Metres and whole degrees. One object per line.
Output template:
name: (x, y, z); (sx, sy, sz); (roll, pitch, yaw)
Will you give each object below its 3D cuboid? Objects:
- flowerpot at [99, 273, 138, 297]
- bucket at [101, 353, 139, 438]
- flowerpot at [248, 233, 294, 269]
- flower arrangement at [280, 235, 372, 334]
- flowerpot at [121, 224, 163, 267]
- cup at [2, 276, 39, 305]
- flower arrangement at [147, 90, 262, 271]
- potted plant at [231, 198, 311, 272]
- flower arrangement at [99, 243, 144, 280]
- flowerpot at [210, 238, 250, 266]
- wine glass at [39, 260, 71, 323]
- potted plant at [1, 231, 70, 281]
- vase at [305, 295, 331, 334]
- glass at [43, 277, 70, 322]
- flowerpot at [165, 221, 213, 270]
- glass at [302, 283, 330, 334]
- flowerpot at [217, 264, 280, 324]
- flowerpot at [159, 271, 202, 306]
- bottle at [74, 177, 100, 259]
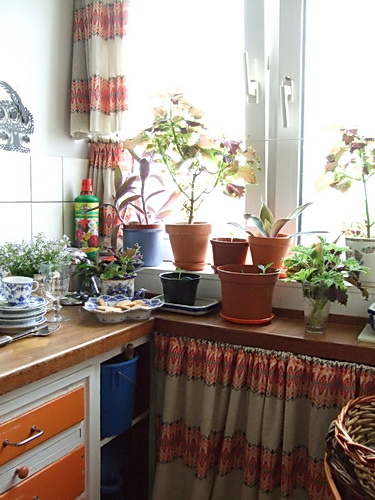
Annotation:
flowerpot: (-0.254, 0.128, 1.400); (0.129, 0.089, 0.145); (0, 5, -12)
bucket: (-0.197, 0.444, 1.185); (0.056, 0.234, 0.148); (4, 6, 29)
flowerpot: (0.283, -0.002, 1.329); (0.123, 0.088, 0.121); (2, 4, 9)
flower arrangement: (0.404, 0.097, 1.217); (0.278, 0.263, 0.280); (2, 0, 36)
flowerpot: (-0.208, -0.026, 1.668); (0.201, 0.193, 0.204); (2, -1, -22)
cup: (-0.475, 0.114, 1.106); (0.101, 0.072, 0.099); (1, 5, 0)
flower arrangement: (0.063, -0.251, 1.497); (0.444, 0.676, 0.310); (2, 6, 10)
potted plant: (0.288, -0.053, 1.421); (0.259, 0.187, 0.261); (3, 1, 41)
flower arrangement: (-0.228, 0.036, 1.372); (0.152, 0.087, 0.121); (-8, 34, -19)
flowerpot: (0.172, 0.002, 1.422); (0.112, 0.080, 0.111); (1, 2, 4)
wine glass: (-0.395, 0.123, 1.161); (0.098, 0.169, 0.095); (-1, -2, -12)
potted plant: (-0.502, 0.009, 1.273); (0.182, 0.119, 0.183); (4, 7, 23)
vase: (0.376, 0.186, 1.115); (0.067, 0.106, 0.045); (3, 6, 16)
glass: (-0.414, 0.143, 1.226); (0.073, 0.149, 0.214); (-1, 6, -21)
flowerpot: (0.012, -0.015, 1.559); (0.197, 0.177, 0.192); (-3, 5, -17)
glass: (0.378, 0.165, 1.132); (0.073, 0.152, 0.126); (3, 6, 20)
flowerpot: (0.198, 0.141, 1.278); (0.230, 0.176, 0.216); (5, -12, 4)
flowerpot: (-0.017, 0.135, 1.382); (0.144, 0.119, 0.140); (3, 6, 19)
bottle: (-0.419, -0.128, 1.619); (0.093, 0.331, 0.088); (1, 5, 0)
